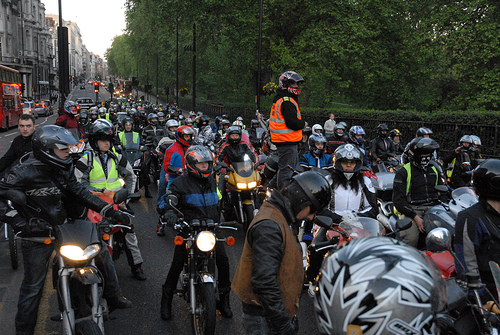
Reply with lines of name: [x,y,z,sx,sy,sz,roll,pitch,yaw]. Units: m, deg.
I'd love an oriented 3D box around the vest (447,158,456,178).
vest: [5.568,-0.040,11.527,0.261,0.552,0.371,12,8,36]

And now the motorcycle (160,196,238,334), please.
motorcycle: [-0.661,1.323,5.411,0.869,1.822,1.213,-1,8,-10]

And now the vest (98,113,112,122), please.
vest: [-7.681,-2.715,21.943,0.402,0.745,0.648,-1,9,-9]

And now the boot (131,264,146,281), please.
boot: [-1.970,1.819,7.277,0.144,0.291,0.389,-7,10,-38]

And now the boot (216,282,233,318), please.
boot: [-0.357,1.911,6.073,0.196,0.490,0.483,-2,23,-15]

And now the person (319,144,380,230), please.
person: [1.641,0.284,6.522,0.735,1.026,1.740,0,-1,-3]

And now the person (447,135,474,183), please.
person: [5.755,-0.206,11.232,0.615,1.320,0.801,4,9,25]

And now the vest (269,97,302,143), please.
vest: [0.746,-1.024,8.818,0.689,0.958,0.485,2,8,8]

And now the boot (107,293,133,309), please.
boot: [-1.606,1.652,5.165,0.392,0.206,0.143,0,5,8]

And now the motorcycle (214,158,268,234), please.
motorcycle: [-0.227,0.441,9.751,0.784,1.202,1.824,-1,7,-10]

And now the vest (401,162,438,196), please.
vest: [2.830,0.134,6.919,0.423,0.871,0.618,1,5,27]

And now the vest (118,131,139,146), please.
vest: [-3.720,-0.828,12.598,0.473,0.403,0.367,-2,0,-18]

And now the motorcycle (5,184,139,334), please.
motorcycle: [-2.121,1.015,5.469,1.236,1.655,2.475,-1,3,-17]

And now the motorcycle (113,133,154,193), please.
motorcycle: [-3.432,-0.280,11.644,1.049,1.450,2.286,-2,6,-6]

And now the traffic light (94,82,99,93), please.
traffic light: [-15.165,-7.896,40.608,0.248,1.034,1.192,-2,9,-17]

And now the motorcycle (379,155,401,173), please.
motorcycle: [3.815,-0.096,11.182,0.373,0.361,0.289,30,22,28]

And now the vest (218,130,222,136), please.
vest: [-1.170,-1.340,15.908,0.177,0.275,0.094,-6,-4,9]
